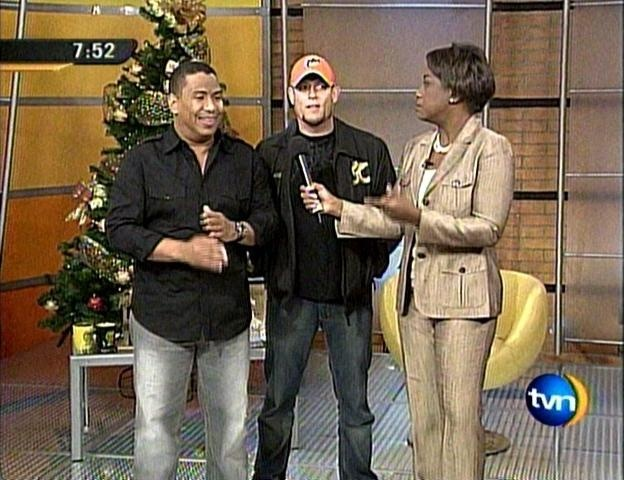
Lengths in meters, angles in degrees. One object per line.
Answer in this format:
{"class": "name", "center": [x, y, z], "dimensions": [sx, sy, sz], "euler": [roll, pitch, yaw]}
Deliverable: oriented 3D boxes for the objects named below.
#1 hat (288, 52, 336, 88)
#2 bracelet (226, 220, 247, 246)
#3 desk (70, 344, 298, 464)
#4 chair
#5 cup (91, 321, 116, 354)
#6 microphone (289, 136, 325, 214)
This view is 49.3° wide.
{"class": "hat", "center": [0.008, -0.917, 3.687], "dimensions": [0.216, 0.176, 0.357], "euler": [-1, 15, 9]}
{"class": "bracelet", "center": [-0.370, -0.041, 3.346], "dimensions": [0.055, 0.101, 0.085], "euler": [4, -19, -18]}
{"class": "desk", "center": [-1.116, 1.128, 4.647], "dimensions": [0.985, 0.653, 0.408], "euler": [1, -16, -22]}
{"class": "chair", "center": [1.322, 0.758, 4.718], "dimensions": [0.687, 0.965, 0.711], "euler": [-10, 1, 21]}
{"class": "cup", "center": [-1.379, 0.659, 4.600], "dimensions": [0.090, 0.222, 0.106], "euler": [-2, -5, 6]}
{"class": "microphone", "center": [-0.042, -0.321, 3.354], "dimensions": [0.091, 0.496, 0.100], "euler": [5, -39, -23]}
